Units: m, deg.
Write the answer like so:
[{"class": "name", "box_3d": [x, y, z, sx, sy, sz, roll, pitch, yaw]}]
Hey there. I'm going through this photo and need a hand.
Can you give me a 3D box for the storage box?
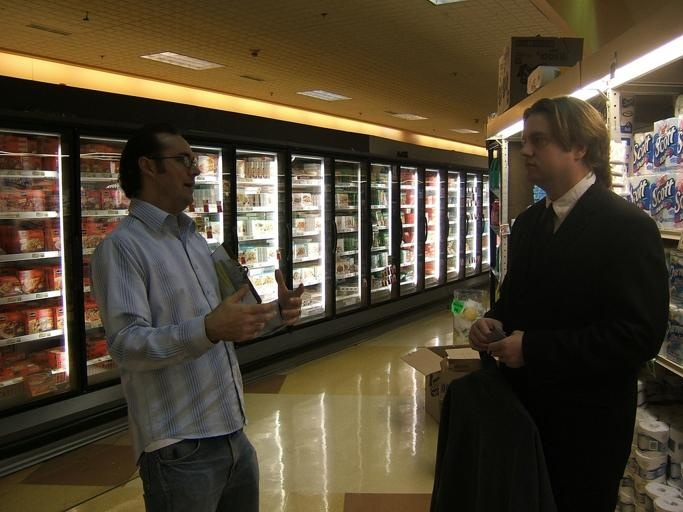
[{"class": "storage box", "box_3d": [1.501, -1.467, 3.998, 0.711, 0.624, 0.683, -2, 9, -15]}]
